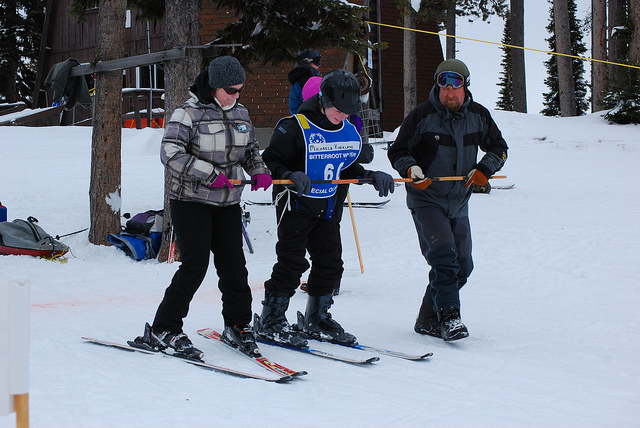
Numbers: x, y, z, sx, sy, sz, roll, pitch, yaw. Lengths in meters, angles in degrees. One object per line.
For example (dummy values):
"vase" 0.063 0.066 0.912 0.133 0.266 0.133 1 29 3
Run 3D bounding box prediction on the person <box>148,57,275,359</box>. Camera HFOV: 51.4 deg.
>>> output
"person" -0.988 -0.065 5.981 1.240 2.582 0.619 -12 17 -30

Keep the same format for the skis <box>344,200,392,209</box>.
"skis" 0.910 -0.170 12.653 1.146 0.113 0.144 -1 -7 8

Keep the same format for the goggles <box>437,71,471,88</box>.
"goggles" 1.326 -1.334 6.611 0.307 0.161 0.138 -2 15 4

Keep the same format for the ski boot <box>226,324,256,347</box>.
"ski boot" -0.716 1.108 6.142 0.181 0.169 0.280 -11 17 -30

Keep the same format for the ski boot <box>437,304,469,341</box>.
"ski boot" 1.305 1.067 6.575 0.227 0.346 0.313 -6 15 -9
